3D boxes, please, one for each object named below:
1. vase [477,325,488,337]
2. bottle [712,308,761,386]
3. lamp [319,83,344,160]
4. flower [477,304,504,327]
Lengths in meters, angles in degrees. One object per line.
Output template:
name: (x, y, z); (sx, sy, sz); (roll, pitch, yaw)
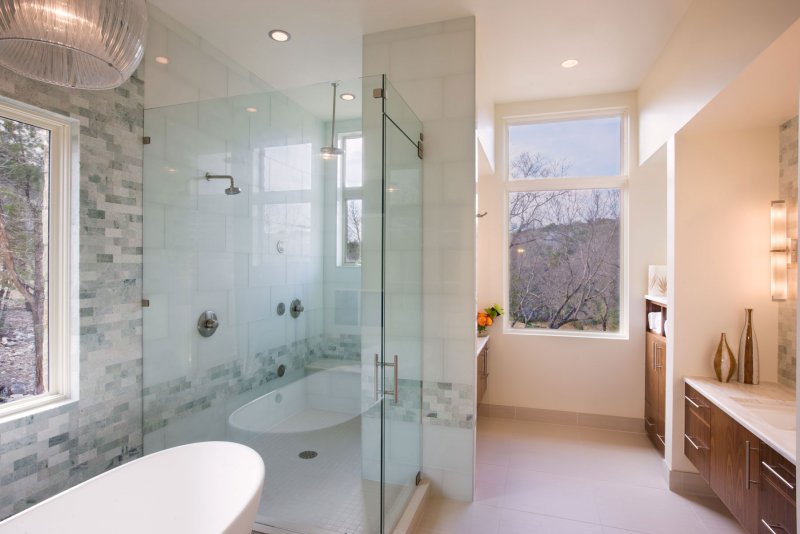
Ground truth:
vase: (0.845, 0.670, 5.520); (0.110, 0.112, 0.118); (0, 0, 23)
bottle: (2.565, 0.604, 4.092); (0.314, 0.553, 0.181); (-1, 11, 1)
lamp: (-0.479, -0.995, 3.655); (0.149, 0.510, 0.128); (-2, 11, -5)
flower: (0.919, 0.541, 5.502); (0.249, 0.242, 0.338); (2, 11, 15)
